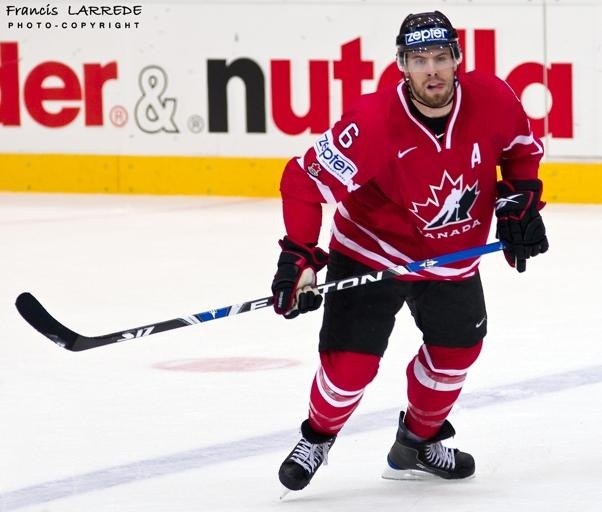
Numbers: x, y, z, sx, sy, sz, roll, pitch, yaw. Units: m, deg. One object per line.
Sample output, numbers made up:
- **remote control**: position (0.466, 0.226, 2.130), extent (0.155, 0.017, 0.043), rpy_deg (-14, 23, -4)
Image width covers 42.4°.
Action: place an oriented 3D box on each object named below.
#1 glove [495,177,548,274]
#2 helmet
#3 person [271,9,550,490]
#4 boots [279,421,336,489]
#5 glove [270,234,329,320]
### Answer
- **glove**: position (0.522, -0.077, 1.912), extent (0.168, 0.208, 0.081), rpy_deg (-4, -3, -8)
- **helmet**: position (0.293, -0.501, 1.801), extent (0.146, 0.127, 0.176), rpy_deg (-5, 16, 13)
- **person**: position (0.267, 0.013, 1.866), extent (0.680, 1.169, 0.300), rpy_deg (-2, 15, -3)
- **boots**: position (0.015, 0.484, 1.935), extent (0.075, 0.076, 0.207), rpy_deg (29, 24, 7)
- **glove**: position (-0.003, 0.051, 1.822), extent (0.135, 0.189, 0.134), rpy_deg (-1, 14, 0)
